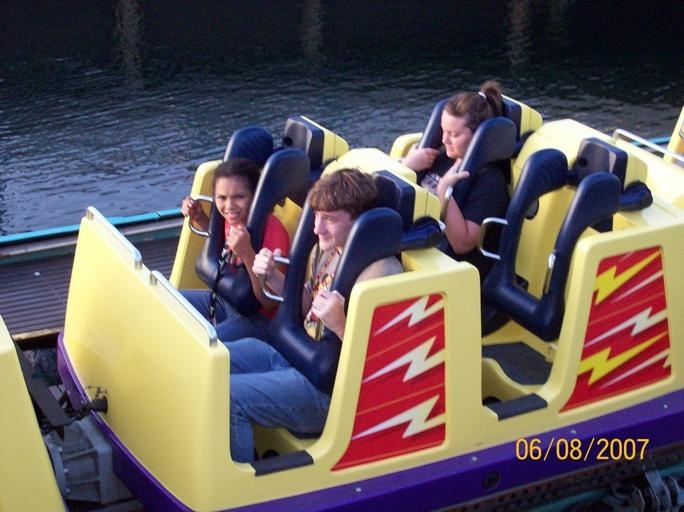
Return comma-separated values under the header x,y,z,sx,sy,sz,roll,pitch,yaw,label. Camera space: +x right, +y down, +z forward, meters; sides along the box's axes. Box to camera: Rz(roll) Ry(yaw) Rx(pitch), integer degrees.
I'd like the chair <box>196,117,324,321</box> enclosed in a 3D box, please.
x,y,z,sx,sy,sz,roll,pitch,yaw,label
-0.349,-0.208,3.042,0.481,0.801,0.561,25,33,37,chair

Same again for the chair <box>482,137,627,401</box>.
x,y,z,sx,sy,sz,roll,pitch,yaw,label
0.855,-0.052,2.732,0.386,0.676,0.394,-14,29,-24,chair

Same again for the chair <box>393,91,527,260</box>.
x,y,z,sx,sy,sz,roll,pitch,yaw,label
0.615,-0.314,3.110,0.523,0.591,0.504,2,-3,-27,chair

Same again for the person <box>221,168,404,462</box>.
x,y,z,sx,sy,sz,roll,pitch,yaw,label
-0.044,0.304,2.441,0.765,1.111,0.671,5,15,18,person

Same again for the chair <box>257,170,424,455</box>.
x,y,z,sx,sy,sz,roll,pitch,yaw,label
-0.118,0.133,2.467,0.834,1.064,0.600,-1,15,-18,chair
